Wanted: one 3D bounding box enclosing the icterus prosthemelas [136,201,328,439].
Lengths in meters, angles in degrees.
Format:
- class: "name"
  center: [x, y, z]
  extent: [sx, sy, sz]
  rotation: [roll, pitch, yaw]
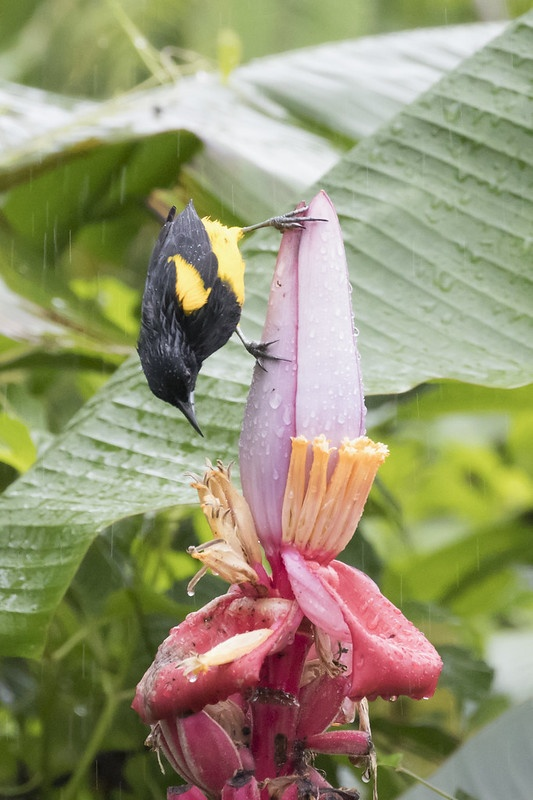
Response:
- class: "icterus prosthemelas"
  center: [-0.055, -0.223, 1.756]
  extent: [0.196, 0.269, 0.481]
  rotation: [13, 26, -13]
